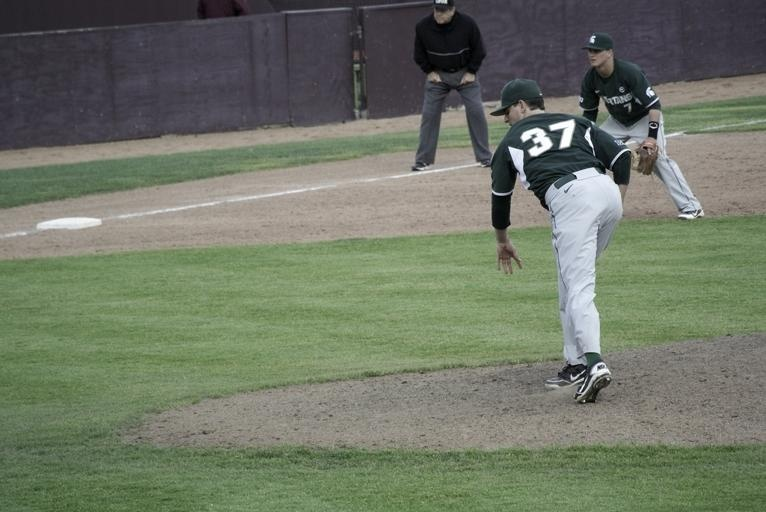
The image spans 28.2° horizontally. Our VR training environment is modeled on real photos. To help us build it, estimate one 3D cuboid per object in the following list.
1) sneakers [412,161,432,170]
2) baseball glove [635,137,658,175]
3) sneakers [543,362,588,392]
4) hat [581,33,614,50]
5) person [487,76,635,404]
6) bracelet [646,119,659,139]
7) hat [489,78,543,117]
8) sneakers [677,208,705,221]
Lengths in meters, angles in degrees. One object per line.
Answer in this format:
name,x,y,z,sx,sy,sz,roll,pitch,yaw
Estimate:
sneakers,0.697,-1.463,25.184,0.350,0.136,0.122,-7,22,-33
baseball glove,3.689,-1.356,21.393,0.297,0.515,0.245,-10,47,-26
sneakers,2.201,1.447,18.018,0.571,0.234,0.217,-7,14,5
hat,3.031,-2.961,21.294,0.334,0.254,0.478,-1,5,12
person,2.109,-0.191,18.125,1.398,3.785,0.879,0,6,27
bracelet,3.811,-1.761,21.464,0.148,0.253,0.239,-1,5,18
hat,1.555,-1.864,18.339,0.631,0.330,0.404,-11,8,13
sneakers,4.455,-0.555,22.024,0.427,0.165,0.135,-1,3,-25
